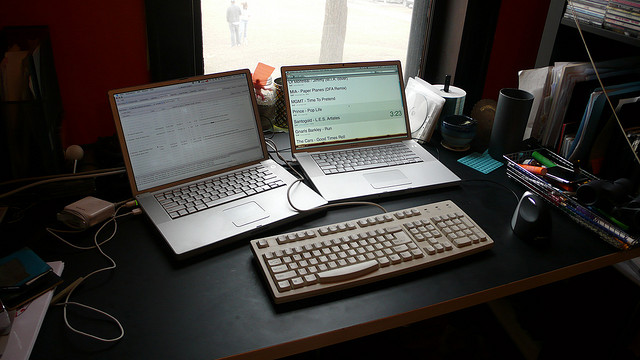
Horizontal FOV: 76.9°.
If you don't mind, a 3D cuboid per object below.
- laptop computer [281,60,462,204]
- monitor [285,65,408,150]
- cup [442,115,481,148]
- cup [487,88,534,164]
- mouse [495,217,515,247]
[{"bbox_3d":[0.200,-0.201,1.544,0.602,0.306,0.489,-13,43,-28],"label":"laptop computer"},{"bbox_3d":[0.104,-0.306,1.642,0.532,0.260,0.351,-6,36,-12],"label":"monitor"},{"bbox_3d":[0.596,-0.212,1.777,0.159,0.106,0.146,0,32,0],"label":"cup"},{"bbox_3d":[0.770,-0.210,1.650,0.124,0.266,0.138,12,39,20],"label":"cup"},{"bbox_3d":[0.639,0.179,1.398,0.063,0.022,0.130,6,34,13],"label":"mouse"}]
